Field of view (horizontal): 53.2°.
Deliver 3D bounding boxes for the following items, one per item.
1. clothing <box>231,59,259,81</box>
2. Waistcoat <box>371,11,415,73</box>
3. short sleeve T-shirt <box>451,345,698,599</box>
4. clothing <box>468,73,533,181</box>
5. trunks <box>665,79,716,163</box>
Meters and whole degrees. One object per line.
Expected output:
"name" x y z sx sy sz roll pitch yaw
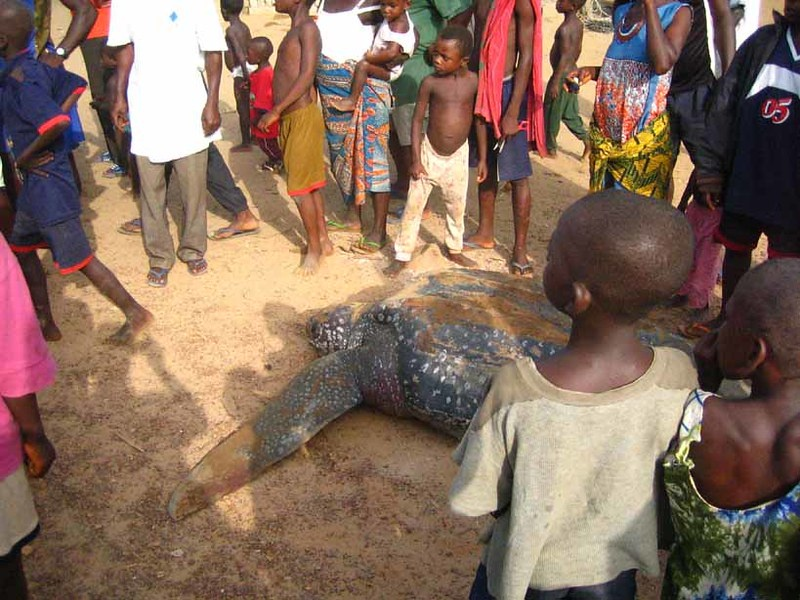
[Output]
"clothing" -1.487 -2.224 7.559 0.305 0.134 0.201 19 42 20
"Waistcoat" -0.068 -1.845 5.648 0.220 0.413 0.364 9 40 -21
"short sleeve T-shirt" 0.648 0.634 2.823 0.857 0.918 0.531 -4 27 2
"clothing" 0.695 -1.216 5.458 0.573 0.837 0.434 2 30 12
"trunks" 1.701 -1.047 4.670 0.113 0.402 0.372 8 13 36
